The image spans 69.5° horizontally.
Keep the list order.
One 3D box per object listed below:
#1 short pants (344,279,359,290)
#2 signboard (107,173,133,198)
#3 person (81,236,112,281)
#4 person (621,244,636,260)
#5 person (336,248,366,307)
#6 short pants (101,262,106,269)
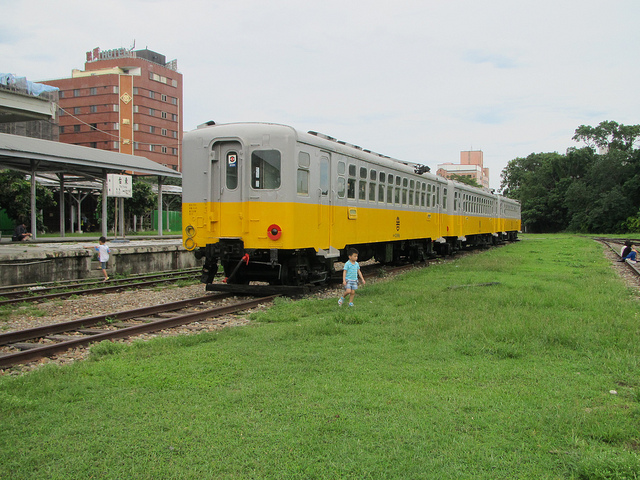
[{"bbox_3d":[0.672,0.940,9.887,0.232,0.209,0.216,-2,2,-6],"label":"short pants"},{"bbox_3d":[-10.080,-2.762,23.263,0.379,1.118,1.233,-3,-2,32],"label":"signboard"},{"bbox_3d":[-7.120,0.566,15.074,0.739,1.325,2.001,-3,2,-30],"label":"person"},{"bbox_3d":[14.038,0.540,21.080,0.558,0.900,0.641,-1,7,9],"label":"person"},{"bbox_3d":[0.683,0.800,10.324,0.556,1.193,1.334,-1,2,5],"label":"person"},{"bbox_3d":[-6.815,0.794,14.640,0.071,0.199,0.212,-2,2,-8],"label":"short pants"}]
